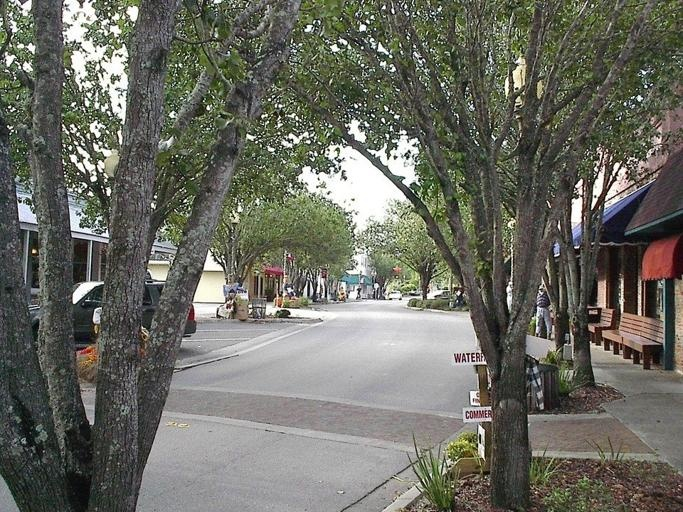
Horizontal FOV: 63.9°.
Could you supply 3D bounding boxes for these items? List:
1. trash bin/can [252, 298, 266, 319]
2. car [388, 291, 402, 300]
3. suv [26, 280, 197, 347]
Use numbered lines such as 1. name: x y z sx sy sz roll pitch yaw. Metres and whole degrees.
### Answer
1. trash bin/can: -4.973 3.141 32.847 0.788 1.245 2.126 2 -6 -10
2. car: 9.950 7.474 102.151 2.086 1.544 4.339 2 -7 0
3. suv: -7.063 2.052 17.070 5.046 2.633 2.757 2 -12 -32
